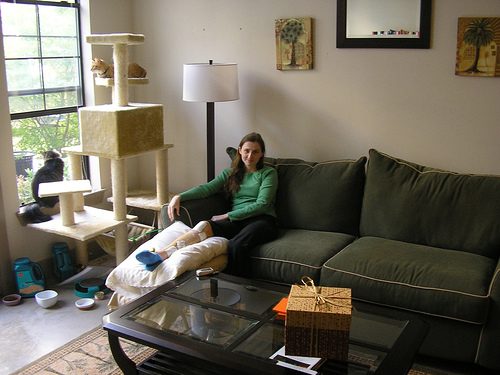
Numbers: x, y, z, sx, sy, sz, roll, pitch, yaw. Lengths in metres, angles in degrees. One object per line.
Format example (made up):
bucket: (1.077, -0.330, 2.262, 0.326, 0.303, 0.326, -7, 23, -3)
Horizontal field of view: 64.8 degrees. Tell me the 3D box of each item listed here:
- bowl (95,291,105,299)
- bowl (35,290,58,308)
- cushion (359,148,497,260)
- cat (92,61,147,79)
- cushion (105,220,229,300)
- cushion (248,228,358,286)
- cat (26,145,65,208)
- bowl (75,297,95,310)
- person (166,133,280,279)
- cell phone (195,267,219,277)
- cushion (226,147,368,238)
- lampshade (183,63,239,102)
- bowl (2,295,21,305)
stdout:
bowl: (-1.178, 0.846, 3.091, 0.054, 0.032, 0.048, 1, 15, 8)
bowl: (-1.554, 0.844, 3.021, 0.126, 0.069, 0.124, 2, 1, 0)
cushion: (1.284, 0.148, 2.837, 0.745, 0.455, 0.211, 10, -8, 22)
cat: (-1.110, -0.974, 3.306, 0.283, 0.138, 0.424, 3, 14, 14)
cushion: (-0.539, 0.518, 2.773, 0.592, 0.363, 0.683, 7, 15, 26)
cushion: (0.294, 0.478, 2.765, 0.469, 0.138, 0.479, 2, 10, 23)
cat: (-1.771, -0.096, 3.418, 0.280, 0.510, 0.341, 10, 18, 34)
bowl: (-1.258, 0.888, 3.024, 0.131, 0.040, 0.126, 0, 14, 0)
person: (-0.191, 0.215, 3.130, 0.894, 1.199, 0.691, 2, 3, -10)
cell phone: (-0.276, 0.513, 2.458, 0.129, 0.038, 0.117, -6, 15, -22)
cushion: (0.385, 0.046, 3.357, 1.156, 0.686, 0.331, 5, 18, 19)
lampshade: (-0.377, -0.979, 3.563, 0.571, 0.342, 0.548, -7, 22, -20)
bowl: (-1.854, 0.872, 3.046, 0.131, 0.045, 0.090, -4, 14, -16)
